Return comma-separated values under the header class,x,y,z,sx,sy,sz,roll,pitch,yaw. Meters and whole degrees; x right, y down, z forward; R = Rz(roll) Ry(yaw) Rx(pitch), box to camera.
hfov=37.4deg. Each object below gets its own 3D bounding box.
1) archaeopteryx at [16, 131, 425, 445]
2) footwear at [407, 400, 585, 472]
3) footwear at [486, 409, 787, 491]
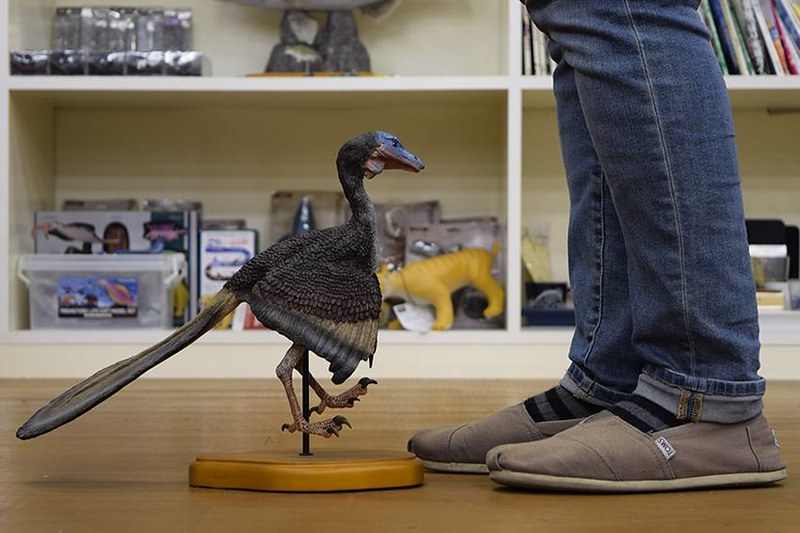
class,x,y,z,sx,sy,sz,roll,pitch,yaw
archaeopteryx,-0.357,0.063,2.323,0.835,0.543,0.303,-9,7,-1
footwear,0.195,0.337,2.353,0.348,0.120,0.131,-3,-9,6
footwear,0.447,0.352,2.258,0.529,0.150,0.189,1,-12,-5
